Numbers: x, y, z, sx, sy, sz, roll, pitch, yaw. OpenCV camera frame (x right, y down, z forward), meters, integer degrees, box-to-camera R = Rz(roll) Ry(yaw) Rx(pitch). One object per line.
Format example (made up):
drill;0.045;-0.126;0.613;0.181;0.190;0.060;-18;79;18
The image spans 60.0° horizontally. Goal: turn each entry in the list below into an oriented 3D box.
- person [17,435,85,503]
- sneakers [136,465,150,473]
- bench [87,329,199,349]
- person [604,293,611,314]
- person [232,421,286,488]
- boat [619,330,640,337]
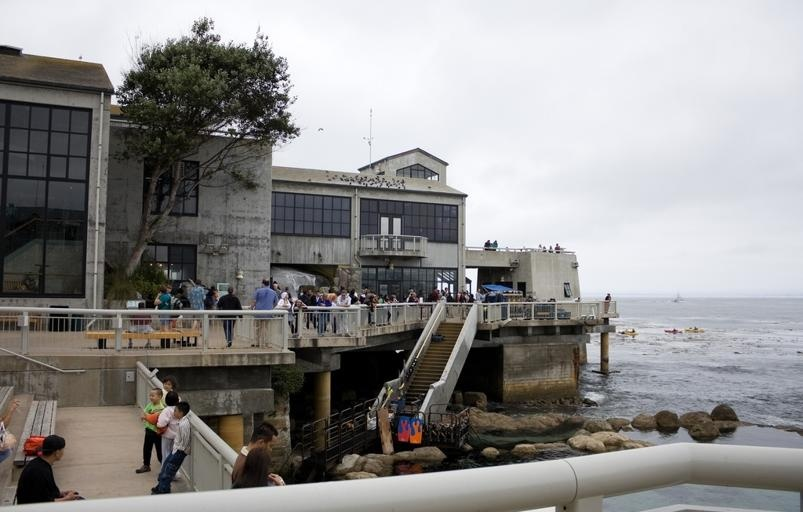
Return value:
person;-6.909;4.163;13.559;0.902;1.216;0.688;2;-4;-32
sneakers;-6.109;5.094;16.639;0.375;0.145;0.125;4;-5;-20
bench;-8.025;2.626;22.047;3.252;0.629;0.462;1;-4;-19
person;13.144;3.025;44.350;0.422;1.148;2.068;-1;-4;18
person;-2.903;3.834;13.503;0.698;1.048;0.898;-2;-4;22
boat;34.798;11.976;107.417;2.216;1.033;2.926;1;0;13
